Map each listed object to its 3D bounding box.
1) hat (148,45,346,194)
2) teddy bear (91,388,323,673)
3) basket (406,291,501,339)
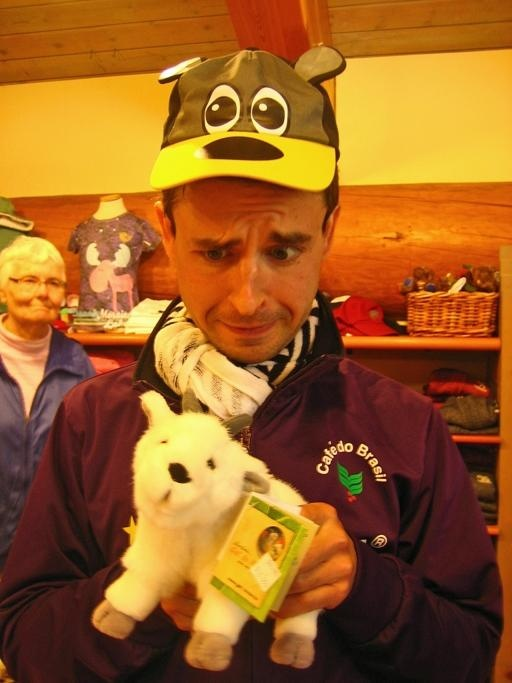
[{"bbox_3d":[0.001,-0.346,0.938,0.240,0.177,0.299,2,7,4],"label":"hat"},{"bbox_3d":[-0.036,0.234,0.691,0.195,0.242,0.293,0,-22,26],"label":"teddy bear"},{"bbox_3d":[0.809,-0.105,2.367,0.272,0.130,0.202,0,2,5],"label":"basket"}]
